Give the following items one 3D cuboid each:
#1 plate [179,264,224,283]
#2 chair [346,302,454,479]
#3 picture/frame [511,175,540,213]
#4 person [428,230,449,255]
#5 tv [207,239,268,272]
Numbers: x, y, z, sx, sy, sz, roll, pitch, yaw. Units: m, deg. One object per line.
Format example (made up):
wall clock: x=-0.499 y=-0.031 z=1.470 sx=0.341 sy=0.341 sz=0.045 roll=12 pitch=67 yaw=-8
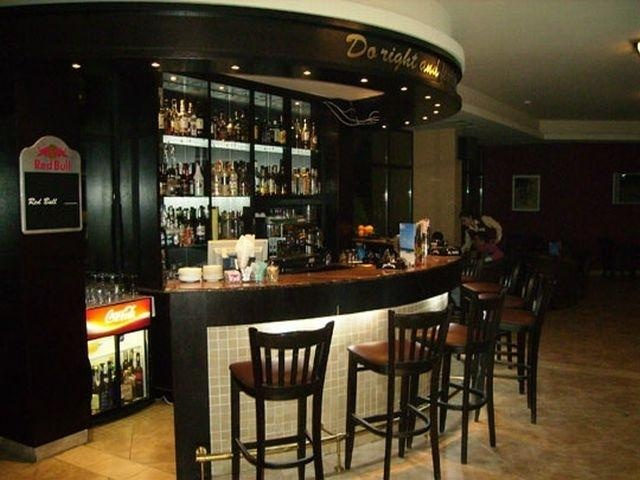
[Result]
plate: x=-1.172 y=0.341 z=5.414 sx=0.302 sy=0.129 sz=0.201 roll=3 pitch=-3 yaw=-15
chair: x=0.779 y=1.418 z=5.430 sx=0.970 sy=1.631 sz=1.031 roll=2 pitch=5 yaw=24
picture/frame: x=5.300 y=-1.191 z=14.108 sx=0.880 sy=1.224 sz=0.092 roll=1 pitch=2 yaw=12
person: x=1.682 y=0.083 z=7.834 sx=0.227 sy=0.310 sz=0.814 roll=0 pitch=-3 yaw=14
tv: x=-0.908 y=0.156 z=5.937 sx=0.455 sy=0.286 sz=0.532 roll=8 pitch=-11 yaw=-28
